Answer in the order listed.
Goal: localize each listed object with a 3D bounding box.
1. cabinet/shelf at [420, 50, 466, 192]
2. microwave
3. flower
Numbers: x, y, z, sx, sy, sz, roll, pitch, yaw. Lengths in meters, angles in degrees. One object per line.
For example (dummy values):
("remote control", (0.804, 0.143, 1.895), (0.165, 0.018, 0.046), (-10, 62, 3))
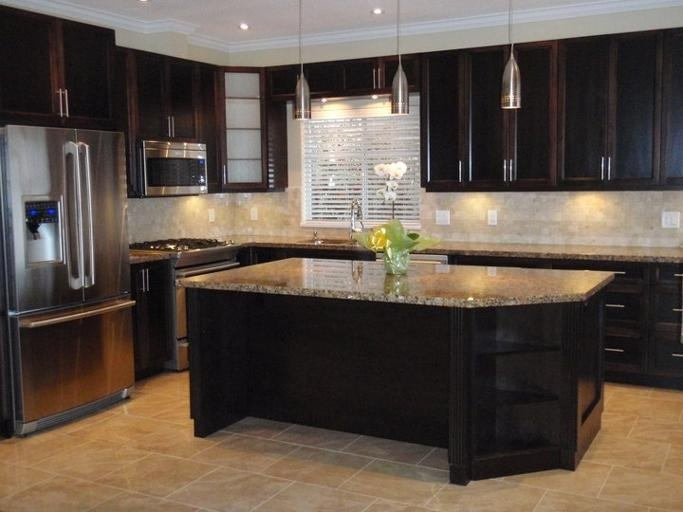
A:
("cabinet/shelf", (0.978, -1.311, 5.727), (0.376, 1.295, 0.143), (2, 11, 15))
("microwave", (-1.613, -0.854, 5.756), (0.174, 0.514, 0.816), (3, 11, 22))
("flower", (0.305, -0.259, 4.137), (0.601, 0.747, 0.623), (-3, 6, 21))
